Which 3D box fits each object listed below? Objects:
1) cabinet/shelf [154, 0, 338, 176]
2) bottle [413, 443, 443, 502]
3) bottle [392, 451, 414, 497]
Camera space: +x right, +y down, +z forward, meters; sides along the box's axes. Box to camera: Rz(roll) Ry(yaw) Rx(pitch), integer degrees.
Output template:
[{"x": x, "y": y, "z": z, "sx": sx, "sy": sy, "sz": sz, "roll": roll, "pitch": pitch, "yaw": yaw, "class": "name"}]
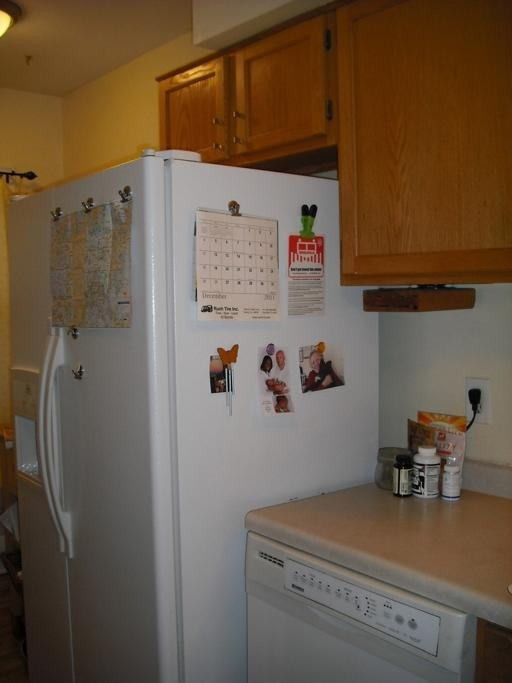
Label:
[{"x": -0.039, "y": -0.708, "z": 1.736, "sx": 0.665, "sy": 0.337, "sz": 0.176, "roll": 1, "pitch": 8, "yaw": 39, "class": "cabinet/shelf"}, {"x": 0.435, "y": 0.331, "z": 1.469, "sx": 0.069, "sy": 0.135, "sz": 0.073, "roll": 0, "pitch": 8, "yaw": 0, "class": "bottle"}, {"x": 0.379, "y": 0.343, "z": 1.478, "sx": 0.056, "sy": 0.109, "sz": 0.056, "roll": 0, "pitch": 5, "yaw": 0, "class": "bottle"}]
